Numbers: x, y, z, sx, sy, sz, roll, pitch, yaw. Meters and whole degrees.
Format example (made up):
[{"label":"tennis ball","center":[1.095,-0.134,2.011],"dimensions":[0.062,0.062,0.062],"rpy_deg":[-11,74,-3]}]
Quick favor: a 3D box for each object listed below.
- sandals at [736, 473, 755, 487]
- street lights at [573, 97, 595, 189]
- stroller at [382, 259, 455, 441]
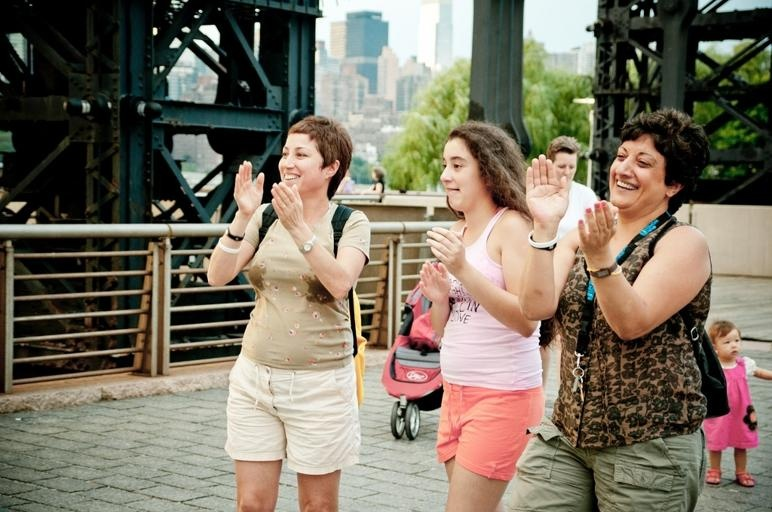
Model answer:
[{"label":"sandals","center":[3.053,1.888,6.826],"dimensions":[0.170,0.081,0.160],"rpy_deg":[1,10,-3]},{"label":"street lights","center":[5.966,-2.996,24.160],"dimensions":[0.774,3.530,0.378],"rpy_deg":[2,16,10]},{"label":"stroller","center":[0.360,0.943,7.893],"dimensions":[0.601,1.368,1.422],"rpy_deg":[6,7,11]}]
